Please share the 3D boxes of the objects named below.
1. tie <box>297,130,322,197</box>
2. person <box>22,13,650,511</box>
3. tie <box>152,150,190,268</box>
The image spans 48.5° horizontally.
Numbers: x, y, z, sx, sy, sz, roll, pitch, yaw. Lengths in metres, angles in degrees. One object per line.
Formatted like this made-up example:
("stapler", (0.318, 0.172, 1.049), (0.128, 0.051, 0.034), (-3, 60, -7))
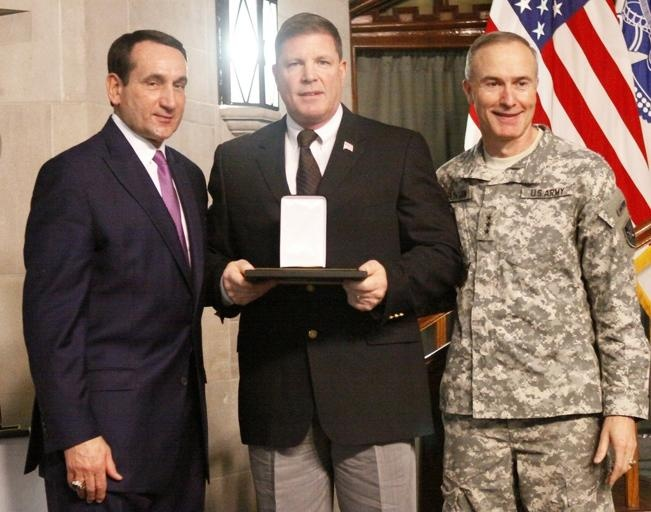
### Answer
("tie", (-0.058, -0.291, 2.316), (0.071, 0.220, 0.044), (2, -22, 3))
("person", (-0.243, 0.046, 2.245), (1.319, 1.574, 0.615), (-3, 9, 4))
("tie", (-0.491, -0.194, 2.303), (0.068, 0.053, 0.541), (15, 43, -32))
